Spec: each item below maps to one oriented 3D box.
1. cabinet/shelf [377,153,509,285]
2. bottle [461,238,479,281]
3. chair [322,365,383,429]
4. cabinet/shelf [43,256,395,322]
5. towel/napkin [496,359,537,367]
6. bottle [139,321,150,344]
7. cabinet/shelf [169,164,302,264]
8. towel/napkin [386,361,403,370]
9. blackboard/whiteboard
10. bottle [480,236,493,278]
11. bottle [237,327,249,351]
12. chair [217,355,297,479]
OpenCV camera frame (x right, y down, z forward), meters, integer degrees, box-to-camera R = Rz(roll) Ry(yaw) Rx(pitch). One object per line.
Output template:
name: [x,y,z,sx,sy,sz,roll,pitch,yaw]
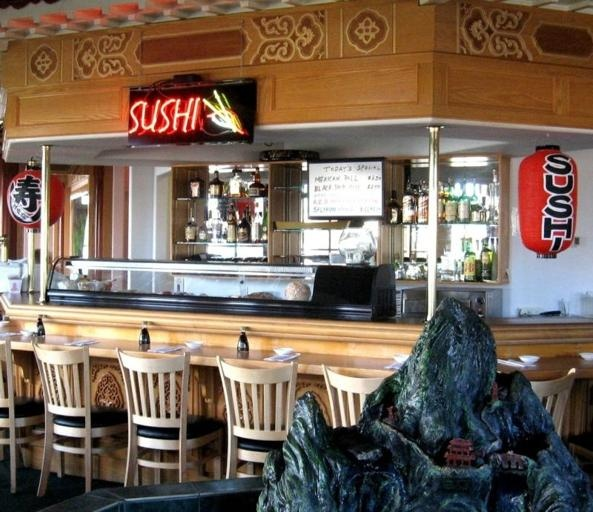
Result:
cabinet/shelf: [1.604,-0.386,5.990,1.423,1.331,0.520,0,-2,11]
bottle: [1.887,0.049,6.153,0.140,0.459,0.206,0,-1,16]
chair: [0.326,0.813,3.190,0.224,0.356,0.444,1,-1,-26]
cabinet/shelf: [-0.724,0.452,4.538,2.732,0.443,0.502,-3,-24,11]
towel/napkin: [1.439,0.695,3.700,0.228,0.018,0.303,0,-1,21]
bottle: [-1.186,0.601,4.455,0.080,0.168,0.223,1,-1,-16]
cabinet/shelf: [-0.682,-0.503,6.926,1.199,1.052,0.355,0,-2,14]
towel/napkin: [0.630,0.701,3.655,0.099,0.021,0.351,0,-1,8]
blackboard/whiteboard: [0.603,-0.751,6.386,0.710,0.537,0.077,1,-1,15]
bottle: [2.047,0.032,6.109,0.086,0.455,0.152,1,-1,-29]
bottle: [-0.394,0.615,4.228,0.082,0.172,0.170,0,-1,-6]
chair: [-0.252,1.053,3.566,0.474,0.882,0.770,0,-1,-4]
